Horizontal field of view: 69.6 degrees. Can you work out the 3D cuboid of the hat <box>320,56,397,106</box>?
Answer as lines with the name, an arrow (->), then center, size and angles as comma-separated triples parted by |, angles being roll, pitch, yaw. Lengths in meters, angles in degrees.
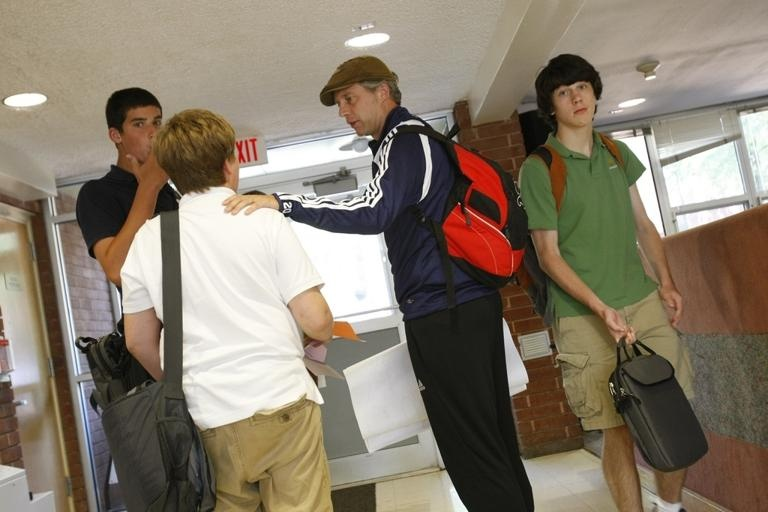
hat -> -0.137, -0.865, 2.654 | 0.375, 0.178, 0.255 | -9, 1, -14

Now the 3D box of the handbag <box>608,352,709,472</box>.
handbag -> 1.162, 0.730, 2.585 | 0.404, 0.530, 0.186 | -22, -8, -35
